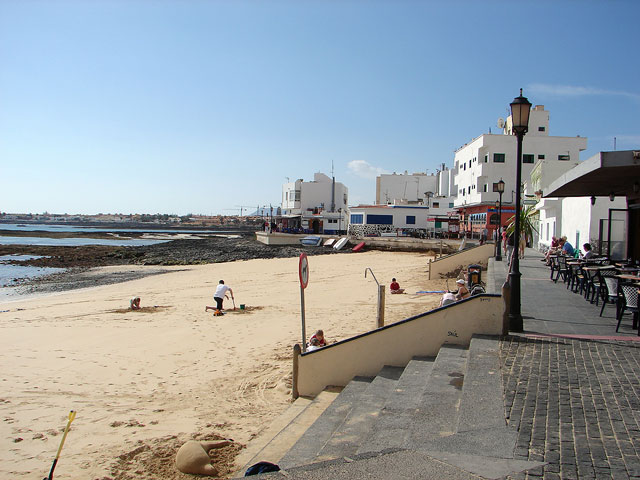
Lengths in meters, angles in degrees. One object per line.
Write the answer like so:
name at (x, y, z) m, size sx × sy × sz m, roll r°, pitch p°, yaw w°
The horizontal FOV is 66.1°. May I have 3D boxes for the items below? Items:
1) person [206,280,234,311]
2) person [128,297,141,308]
person at (-4.446, 2.445, 21.942) m, size 0.901 × 1.472 × 1.104 m, roll 13°, pitch 18°, yaw 39°
person at (-7.602, 2.557, 20.331) m, size 0.436 × 0.455 × 1.034 m, roll -4°, pitch 6°, yaw -21°
